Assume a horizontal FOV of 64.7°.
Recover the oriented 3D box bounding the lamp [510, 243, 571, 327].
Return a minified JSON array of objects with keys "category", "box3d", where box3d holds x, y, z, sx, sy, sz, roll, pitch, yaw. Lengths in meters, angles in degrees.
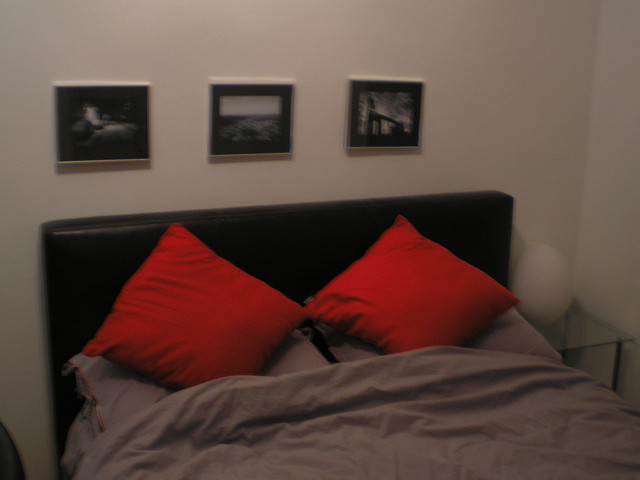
[{"category":"lamp","box3d":[1.187,0.248,2.783,0.308,0.447,0.409,-8,-16,33]}]
